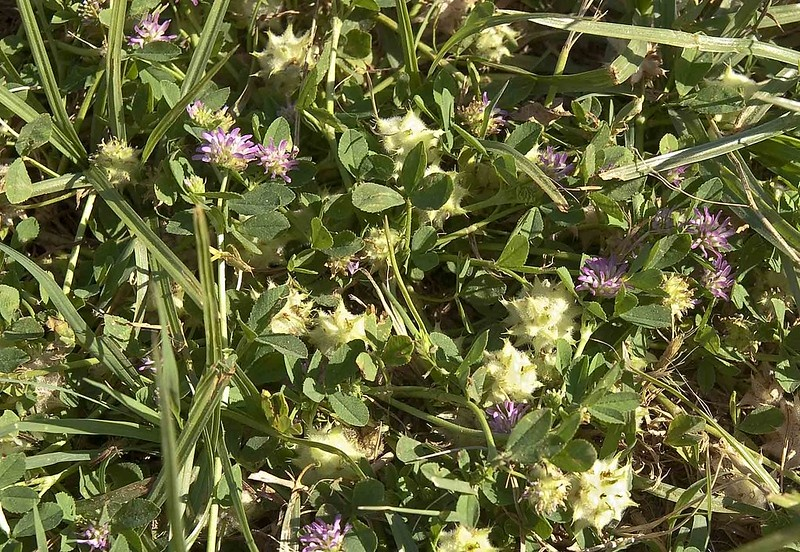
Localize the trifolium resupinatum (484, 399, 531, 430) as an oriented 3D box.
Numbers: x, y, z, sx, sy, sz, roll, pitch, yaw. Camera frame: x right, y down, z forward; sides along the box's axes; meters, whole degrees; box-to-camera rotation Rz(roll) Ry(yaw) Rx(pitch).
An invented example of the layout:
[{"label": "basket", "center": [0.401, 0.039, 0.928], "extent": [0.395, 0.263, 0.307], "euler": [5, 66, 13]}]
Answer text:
[{"label": "trifolium resupinatum", "center": [0.205, 0.260, 1.262], "extent": [0.082, 0.045, 0.057], "euler": [-1, 61, -9]}]

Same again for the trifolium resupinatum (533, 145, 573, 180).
[{"label": "trifolium resupinatum", "center": [0.315, -0.216, 1.427], "extent": [0.074, 0.041, 0.070], "euler": [44, 36, -14]}]

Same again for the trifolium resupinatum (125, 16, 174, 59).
[{"label": "trifolium resupinatum", "center": [-0.520, -0.504, 1.431], "extent": [0.093, 0.047, 0.089], "euler": [24, 60, 5]}]

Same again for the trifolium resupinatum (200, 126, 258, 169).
[{"label": "trifolium resupinatum", "center": [-0.330, -0.256, 1.303], "extent": [0.090, 0.047, 0.093], "euler": [14, 18, 33]}]

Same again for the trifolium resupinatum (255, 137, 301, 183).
[{"label": "trifolium resupinatum", "center": [-0.240, -0.229, 1.352], "extent": [0.077, 0.073, 0.079], "euler": [13, 60, -1]}]

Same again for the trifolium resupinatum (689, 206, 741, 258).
[{"label": "trifolium resupinatum", "center": [0.612, -0.095, 1.380], "extent": [0.040, 0.083, 0.088], "euler": [-11, 58, -30]}]
